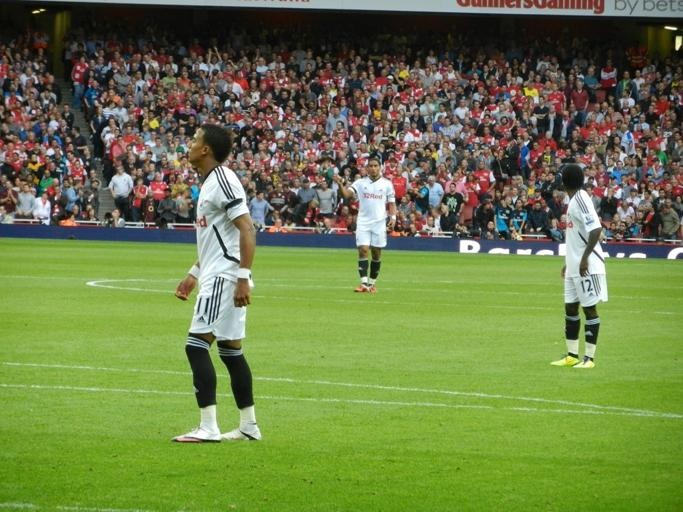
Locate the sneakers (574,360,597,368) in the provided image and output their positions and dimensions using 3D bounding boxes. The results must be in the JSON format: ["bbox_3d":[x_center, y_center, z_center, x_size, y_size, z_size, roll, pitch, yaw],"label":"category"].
[{"bbox_3d":[3.506,1.558,17.025,0.332,0.135,0.113,3,3,6],"label":"sneakers"}]

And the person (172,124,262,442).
[{"bbox_3d":[-1.455,0.296,14.018,0.913,3.696,0.974,-1,9,-18],"label":"person"}]

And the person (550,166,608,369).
[{"bbox_3d":[3.478,0.132,17.031,0.702,2.884,0.654,4,9,12],"label":"person"}]

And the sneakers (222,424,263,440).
[{"bbox_3d":[-1.167,2.081,14.034,0.518,0.237,0.182,4,-4,5],"label":"sneakers"}]

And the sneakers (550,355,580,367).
[{"bbox_3d":[3.240,1.515,17.137,0.421,0.172,0.165,0,0,11],"label":"sneakers"}]

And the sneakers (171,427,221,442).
[{"bbox_3d":[-1.690,2.118,13.844,0.394,0.145,0.242,3,-6,7],"label":"sneakers"}]

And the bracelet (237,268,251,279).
[{"bbox_3d":[-1.151,0.205,13.828,0.130,0.098,0.126,4,-4,-29],"label":"bracelet"}]
